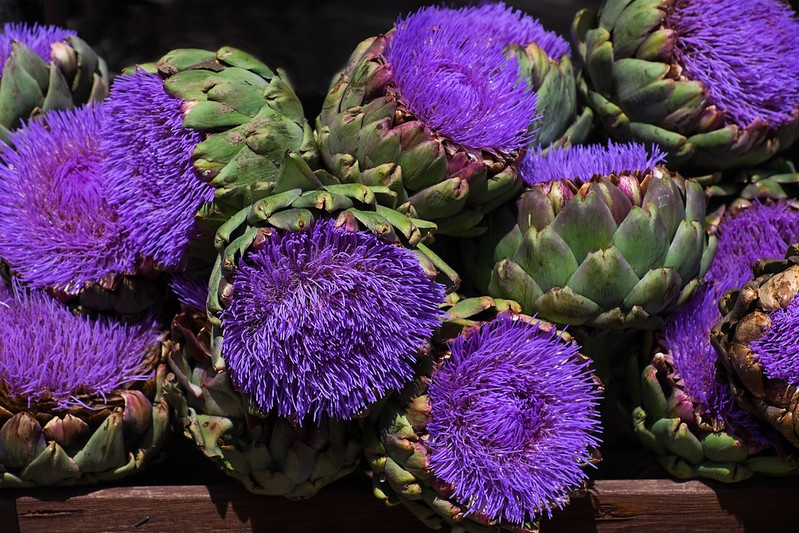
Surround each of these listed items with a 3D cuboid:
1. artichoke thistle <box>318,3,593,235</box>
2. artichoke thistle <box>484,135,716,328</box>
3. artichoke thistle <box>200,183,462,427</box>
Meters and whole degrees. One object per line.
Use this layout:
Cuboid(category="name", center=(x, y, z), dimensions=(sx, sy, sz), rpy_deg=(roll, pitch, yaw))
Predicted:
Cuboid(category="artichoke thistle", center=(0.106, -0.258, 1.678), dimensions=(0.487, 0.278, 0.374), rpy_deg=(-8, 78, -23))
Cuboid(category="artichoke thistle", center=(0.360, -0.027, 1.692), dimensions=(0.353, 0.346, 0.288), rpy_deg=(-7, 86, 28))
Cuboid(category="artichoke thistle", center=(-0.117, 0.095, 1.454), dimensions=(0.335, 0.252, 0.237), rpy_deg=(15, 49, 6))
